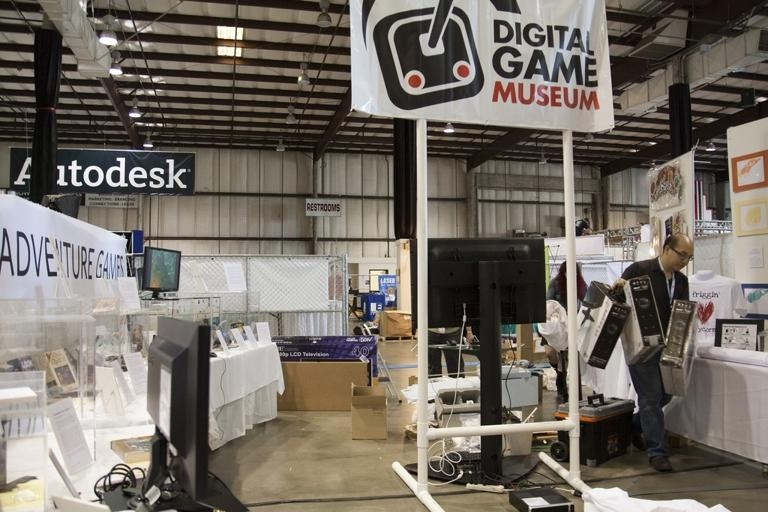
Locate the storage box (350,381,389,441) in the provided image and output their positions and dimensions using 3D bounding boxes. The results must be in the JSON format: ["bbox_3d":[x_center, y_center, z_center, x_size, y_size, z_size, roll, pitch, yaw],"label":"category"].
[{"bbox_3d":[-0.142,1.601,6.722,0.394,0.599,0.572,-2,-2,1],"label":"storage box"}]

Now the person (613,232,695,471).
[{"bbox_3d":[2.483,0.881,5.844,0.588,2.120,0.768,3,12,26],"label":"person"}]

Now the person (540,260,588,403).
[{"bbox_3d":[2.266,0.948,7.883,0.471,1.773,0.491,2,11,7],"label":"person"}]

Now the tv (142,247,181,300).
[{"bbox_3d":[-2.505,0.207,7.051,0.156,0.556,0.520,-1,-5,20],"label":"tv"}]

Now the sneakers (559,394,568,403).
[{"bbox_3d":[2.201,1.771,7.749,0.073,0.144,0.143,1,-1,-2],"label":"sneakers"}]

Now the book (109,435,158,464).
[{"bbox_3d":[-1.766,1.376,4.416,0.316,0.089,0.359,2,3,-1],"label":"book"}]

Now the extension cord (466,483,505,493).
[{"bbox_3d":[0.872,1.996,5.383,0.323,0.055,0.061,0,12,10],"label":"extension cord"}]

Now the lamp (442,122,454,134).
[{"bbox_3d":[1.557,-3.150,15.211,0.278,0.339,0.296,4,-5,-4],"label":"lamp"}]

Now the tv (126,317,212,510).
[{"bbox_3d":[-1.259,0.926,3.740,0.607,1.076,0.297,6,14,37],"label":"tv"}]

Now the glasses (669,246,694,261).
[{"bbox_3d":[2.777,-0.024,5.797,0.234,0.112,0.112,-6,12,-14],"label":"glasses"}]

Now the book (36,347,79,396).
[{"bbox_3d":[-2.225,0.800,4.284,0.063,0.276,0.258,-4,10,21],"label":"book"}]
